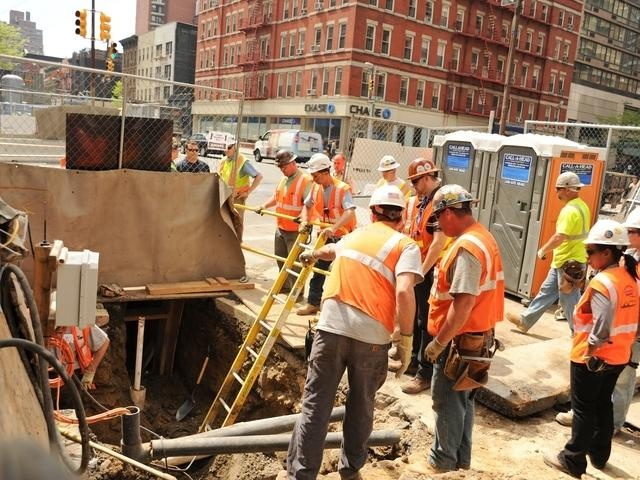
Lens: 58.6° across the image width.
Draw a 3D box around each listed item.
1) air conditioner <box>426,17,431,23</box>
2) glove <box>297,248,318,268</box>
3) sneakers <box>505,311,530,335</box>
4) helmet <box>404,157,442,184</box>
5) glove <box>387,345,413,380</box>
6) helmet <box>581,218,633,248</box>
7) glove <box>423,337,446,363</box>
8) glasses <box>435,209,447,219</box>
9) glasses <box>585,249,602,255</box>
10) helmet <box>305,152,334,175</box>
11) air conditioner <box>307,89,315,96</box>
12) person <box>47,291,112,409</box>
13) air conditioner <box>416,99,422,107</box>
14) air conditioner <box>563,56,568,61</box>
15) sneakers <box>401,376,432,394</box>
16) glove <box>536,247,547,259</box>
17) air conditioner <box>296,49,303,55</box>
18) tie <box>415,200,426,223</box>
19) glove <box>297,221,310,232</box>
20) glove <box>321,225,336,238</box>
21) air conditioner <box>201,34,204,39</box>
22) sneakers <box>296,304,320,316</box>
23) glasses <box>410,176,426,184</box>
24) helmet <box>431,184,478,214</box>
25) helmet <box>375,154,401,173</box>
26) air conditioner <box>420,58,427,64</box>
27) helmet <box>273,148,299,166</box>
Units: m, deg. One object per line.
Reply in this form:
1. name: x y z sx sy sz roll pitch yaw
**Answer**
1. air conditioner: 7.879 -16.274 42.116 0.334 0.363 0.208 5 38 8
2. glove: -0.149 0.227 6.756 0.226 0.169 0.105 -12 58 -47
3. sneakers: 2.862 1.203 8.362 0.266 0.158 0.402 32 -1 -8
4. helmet: 1.200 -0.853 6.937 0.278 0.163 0.275 -22 7 -8
5. glove: 0.880 1.382 6.382 0.325 0.285 0.817 0 -11 10
6. helmet: 2.782 -0.064 5.552 0.303 0.192 0.255 8 8 26
7. glove: 1.028 1.023 5.241 0.078 0.229 0.168 13 38 -25
8. glasses: 1.116 -0.249 5.341 0.061 0.086 0.038 -22 68 -46
9. glasses: 2.656 0.124 5.574 0.093 0.060 0.071 0 -1 26
10. helmet: -0.021 -1.085 7.961 0.324 0.186 0.245 -18 44 -19
11. air conditioner: -0.708 -11.060 42.885 0.183 0.475 0.917 -3 10 -37
12. person: -2.860 1.184 6.729 0.685 1.082 0.593 5 44 -13
13. air conditioner: 7.468 -10.364 43.387 0.692 0.538 0.159 -4 9 -40
14. air conditioner: 22.646 -16.756 52.981 0.905 0.546 0.138 -3 9 -39
15. sneakers: 1.116 1.709 6.746 0.406 0.185 0.151 0 1 -33
16. glove: 3.276 0.201 8.516 0.071 0.205 0.063 8 6 13
17. air conditioner: -1.588 -14.436 43.806 0.454 0.393 0.489 0 -1 -6
18. tie: 1.221 -0.359 7.027 0.101 0.289 0.069 9 4 -26
19. glove: -0.209 -0.161 7.595 0.104 0.141 0.052 3 7 3
20. glove: 0.089 -0.104 7.361 0.116 0.067 0.169 -9 2 -30
21. air conditioner: -11.877 -20.562 57.566 0.284 0.602 0.299 9 31 9
22. sneakers: -0.198 1.052 8.473 0.381 0.188 0.141 1 2 -10
23. glasses: 1.183 -0.734 6.953 0.114 0.062 0.108 -30 12 -24
24. helmet: 1.214 -0.392 5.314 0.314 0.201 0.251 -7 11 2
25. helmet: 1.049 -1.137 8.414 0.341 0.197 0.281 -24 27 -39
26. air conditioner: 7.712 -13.411 42.855 0.343 0.524 0.501 -3 5 -34
27. helmet: -0.502 -1.225 8.679 0.261 0.140 0.284 25 62 42
